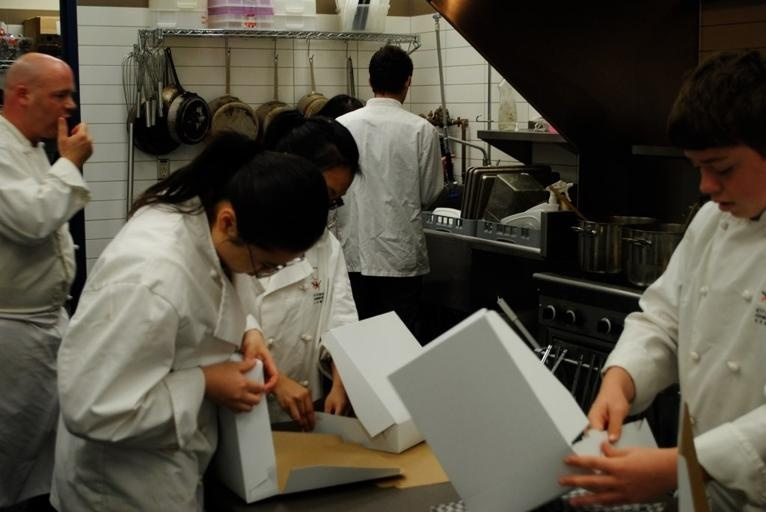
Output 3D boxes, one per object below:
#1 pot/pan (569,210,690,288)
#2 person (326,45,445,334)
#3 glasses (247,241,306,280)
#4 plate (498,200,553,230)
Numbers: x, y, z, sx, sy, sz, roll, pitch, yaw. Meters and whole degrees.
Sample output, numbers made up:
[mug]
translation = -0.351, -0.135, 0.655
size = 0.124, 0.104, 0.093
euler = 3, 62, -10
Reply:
[pot/pan]
translation = 1.092, -0.041, 2.547
size = 0.291, 0.164, 0.396
euler = -1, 3, -36
[person]
translation = -0.196, -0.503, 3.591
size = 0.433, 1.487, 0.459
euler = 29, 22, 25
[glasses]
translation = -0.293, 0.009, 1.465
size = 0.107, 0.117, 0.032
euler = 2, -5, -43
[plate]
translation = 0.789, -0.227, 3.001
size = 0.213, 0.142, 0.304
euler = -4, 14, -29
